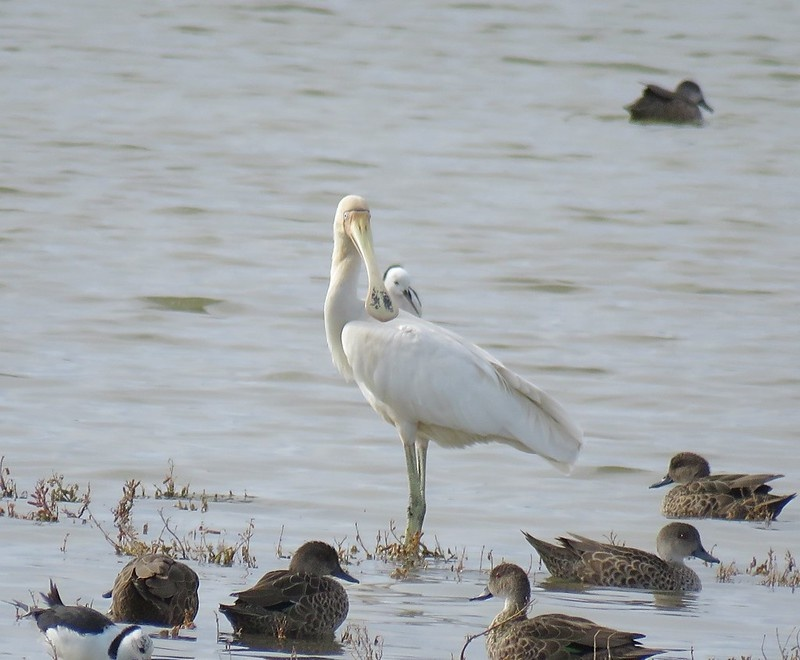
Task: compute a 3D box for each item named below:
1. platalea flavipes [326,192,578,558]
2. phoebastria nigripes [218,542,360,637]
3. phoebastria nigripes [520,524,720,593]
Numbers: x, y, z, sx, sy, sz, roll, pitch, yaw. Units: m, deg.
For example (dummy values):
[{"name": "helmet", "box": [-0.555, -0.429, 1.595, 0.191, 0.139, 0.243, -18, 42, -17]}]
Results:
[{"name": "platalea flavipes", "box": [0.486, 0.307, 21.252, 3.103, 4.001, 4.147, 5, 20, 24]}, {"name": "phoebastria nigripes", "box": [-1.177, 2.704, 16.966, 1.596, 0.951, 0.862, 1, 1, -28]}, {"name": "phoebastria nigripes", "box": [2.499, 2.582, 18.932, 2.015, 0.728, 0.773, 5, -4, 3]}]
